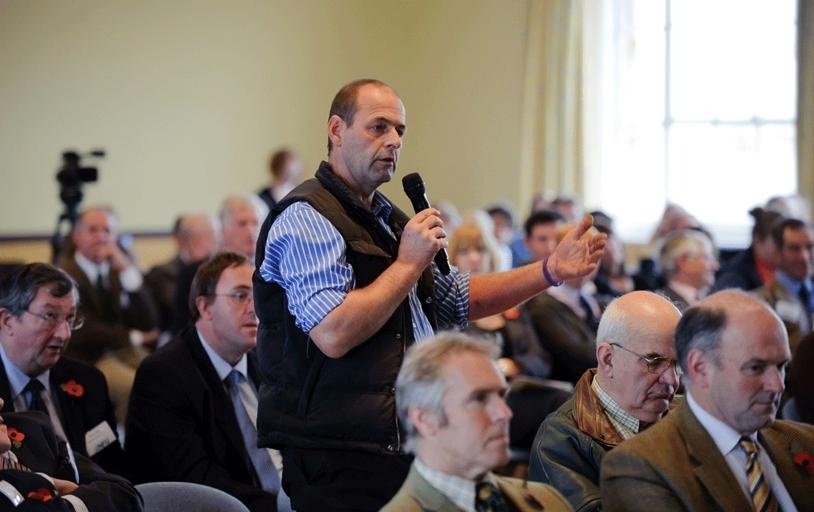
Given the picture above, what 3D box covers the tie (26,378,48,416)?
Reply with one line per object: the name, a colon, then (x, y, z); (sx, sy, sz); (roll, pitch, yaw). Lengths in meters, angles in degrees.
tie: (-1.710, 0.655, 3.579); (0.040, 0.165, 0.049); (-9, 3, 2)
